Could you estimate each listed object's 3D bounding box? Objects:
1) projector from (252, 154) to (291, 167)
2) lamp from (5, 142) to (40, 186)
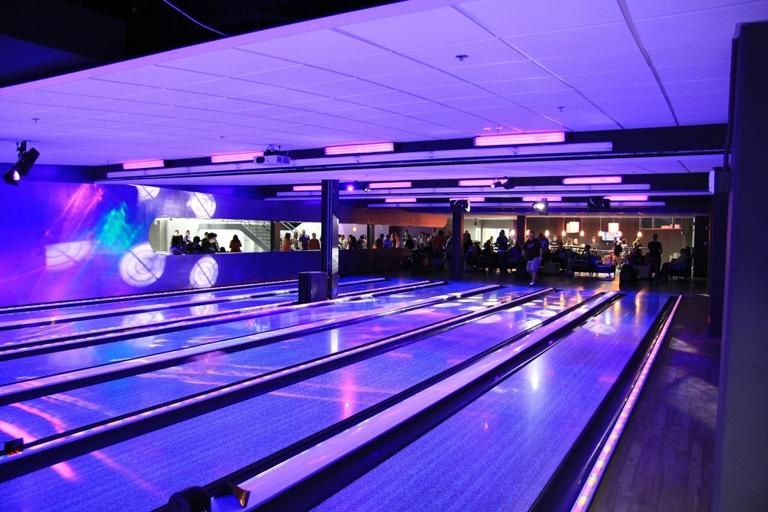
[{"bbox_3d":[-2.026,-1.744,9.555,0.610,0.172,0.720,-2,9,-13],"label":"projector"},{"bbox_3d":[-6.393,-1.625,9.196,0.513,0.748,1.102,-6,11,-34],"label":"lamp"}]
